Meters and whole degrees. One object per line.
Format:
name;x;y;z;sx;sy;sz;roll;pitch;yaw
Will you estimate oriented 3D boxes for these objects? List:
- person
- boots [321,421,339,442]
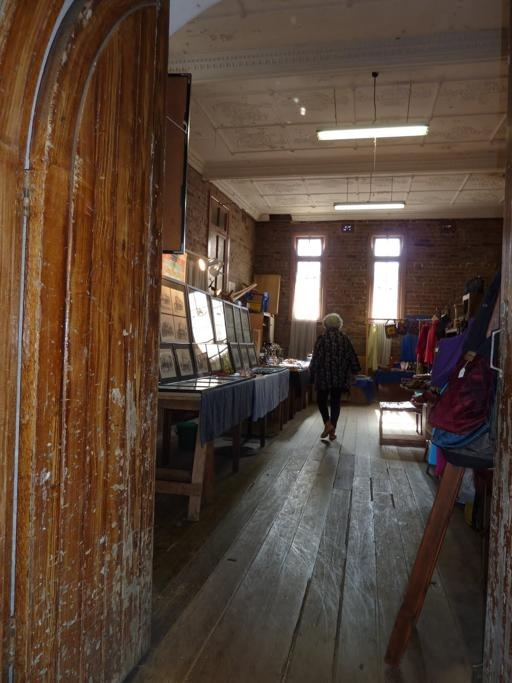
person;0.876;0.391;5.585;0.524;1.451;0.405;-1;1;-25
boots;0.821;1.023;5.435;0.090;0.224;0.290;2;-16;-12
